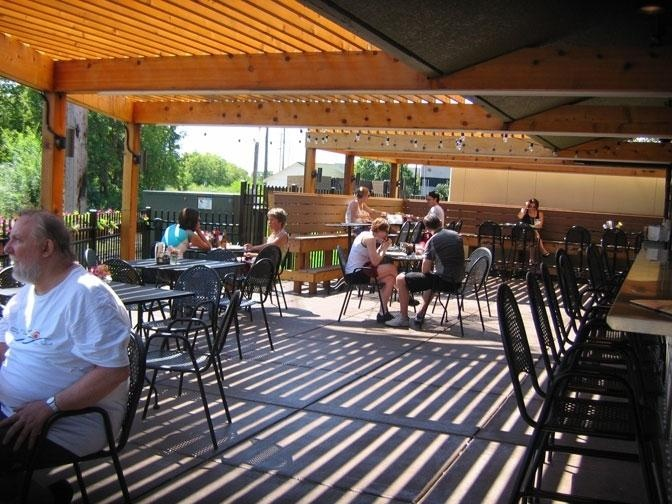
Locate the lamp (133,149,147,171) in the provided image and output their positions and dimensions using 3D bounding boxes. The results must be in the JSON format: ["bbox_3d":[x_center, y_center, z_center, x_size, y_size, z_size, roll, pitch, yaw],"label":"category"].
[{"bbox_3d":[-3.844,-1.843,10.100,0.340,0.403,0.164,-2,-6,-16],"label":"lamp"}]

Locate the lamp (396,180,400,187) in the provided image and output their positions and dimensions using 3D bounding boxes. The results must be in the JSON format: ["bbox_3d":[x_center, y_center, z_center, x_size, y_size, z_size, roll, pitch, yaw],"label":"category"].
[{"bbox_3d":[2.306,-2.551,18.740,0.184,0.236,0.250,5,1,30],"label":"lamp"}]

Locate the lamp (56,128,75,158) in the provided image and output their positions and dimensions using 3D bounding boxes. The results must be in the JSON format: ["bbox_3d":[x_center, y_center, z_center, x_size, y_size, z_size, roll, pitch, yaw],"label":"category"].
[{"bbox_3d":[-4.096,-1.706,7.873,0.197,0.392,0.502,0,6,-24],"label":"lamp"}]

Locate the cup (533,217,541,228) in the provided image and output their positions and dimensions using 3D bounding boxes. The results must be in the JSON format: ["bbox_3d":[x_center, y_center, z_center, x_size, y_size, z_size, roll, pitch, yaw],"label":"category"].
[{"bbox_3d":[5.647,-0.854,14.411,0.280,0.275,0.253,-4,10,0],"label":"cup"}]
